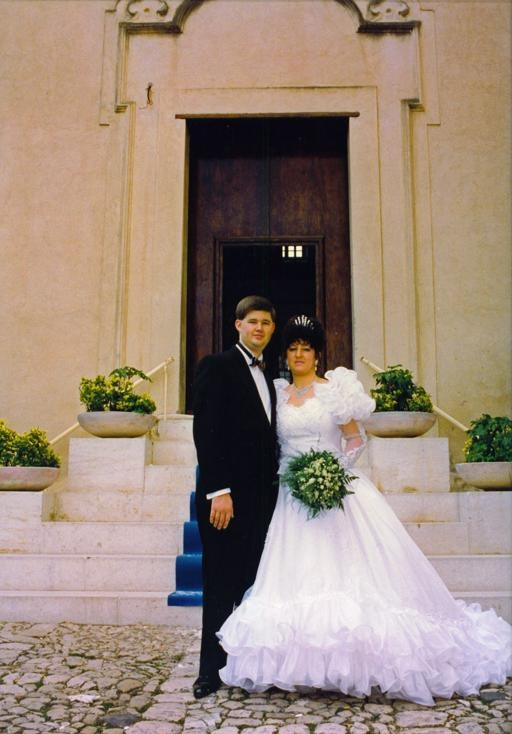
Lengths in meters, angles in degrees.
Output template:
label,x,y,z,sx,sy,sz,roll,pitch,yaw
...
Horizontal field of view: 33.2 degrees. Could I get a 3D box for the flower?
label,x,y,z,sx,sy,sz,roll,pitch,yaw
flower,0.290,0.537,4.152,0.324,0.264,0.325,-5,-8,39
